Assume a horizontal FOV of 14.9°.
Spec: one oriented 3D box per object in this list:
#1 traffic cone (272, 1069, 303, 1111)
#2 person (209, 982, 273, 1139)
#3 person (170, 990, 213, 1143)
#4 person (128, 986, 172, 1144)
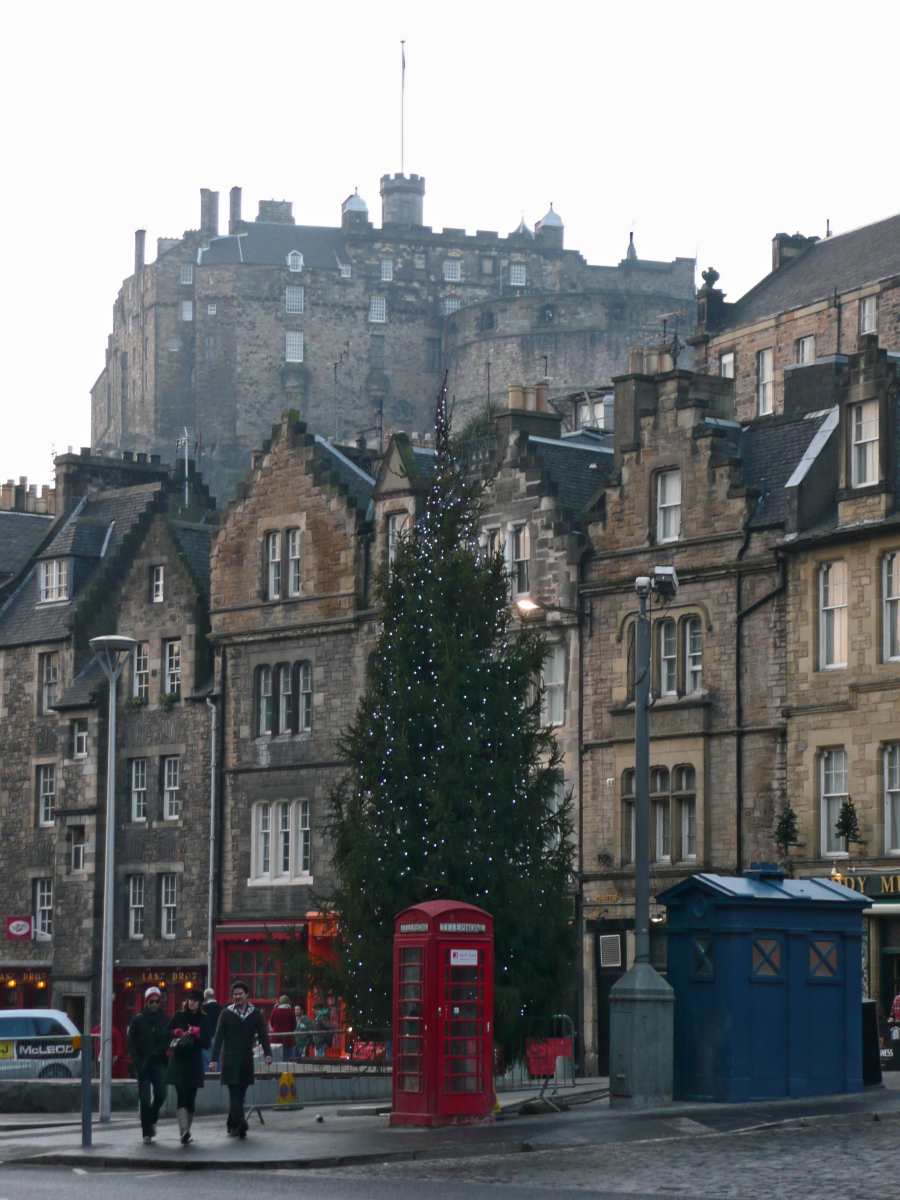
[{"bbox_3d":[-2.388,6.815,47.751,0.396,0.633,0.463,2,6,19],"label":"traffic cone"},{"bbox_3d":[-2.623,5.594,41.321,0.618,1.877,1.206,0,-11,-4],"label":"person"},{"bbox_3d":[-3.285,5.644,41.628,0.346,1.704,0.294,1,-9,-17],"label":"person"},{"bbox_3d":[-3.796,5.639,42.289,0.413,2.123,0.337,0,-10,-15],"label":"person"}]
